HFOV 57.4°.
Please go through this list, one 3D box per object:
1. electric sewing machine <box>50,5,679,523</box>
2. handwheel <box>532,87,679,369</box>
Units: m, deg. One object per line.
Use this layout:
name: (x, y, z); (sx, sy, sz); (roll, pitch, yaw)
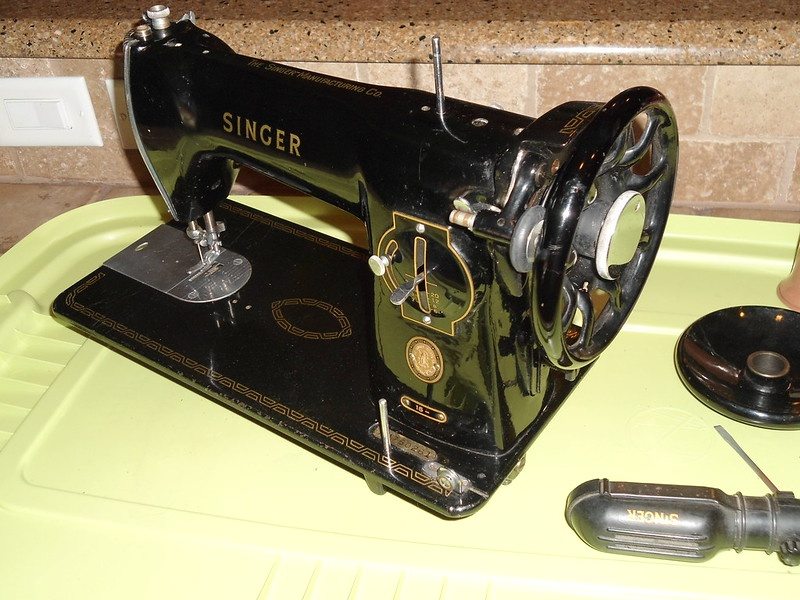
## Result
electric sewing machine: (-0.043, -0.049, 1.421); (0.881, 0.552, 0.471); (23, 45, 25)
handwheel: (0.340, -0.096, 1.210); (0.117, 0.460, 0.443); (20, 42, 29)
